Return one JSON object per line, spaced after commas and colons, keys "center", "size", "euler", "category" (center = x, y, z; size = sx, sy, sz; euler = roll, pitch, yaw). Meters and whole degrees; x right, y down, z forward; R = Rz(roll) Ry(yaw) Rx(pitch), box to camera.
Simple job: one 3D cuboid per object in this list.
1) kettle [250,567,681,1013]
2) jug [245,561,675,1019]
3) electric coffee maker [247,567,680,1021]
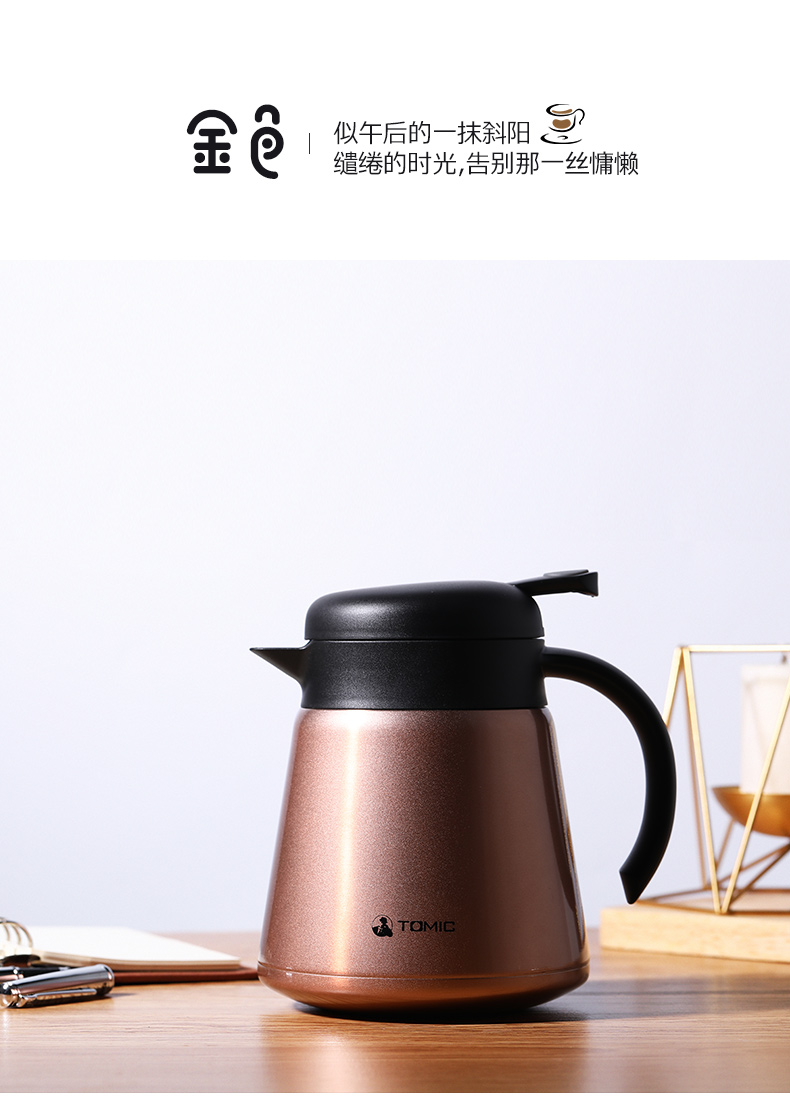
{"center": [0.025, 0.094, 0.436], "size": [0.177, 0.162, 0.127], "euler": [1, -3, 8], "category": "kettle"}
{"center": [0.025, 0.093, 0.431], "size": [0.165, 0.161, 0.129], "euler": [-2, -4, 33], "category": "jug"}
{"center": [0.025, 0.097, 0.438], "size": [0.172, 0.163, 0.128], "euler": [-1, -8, 5], "category": "electric coffee maker"}
